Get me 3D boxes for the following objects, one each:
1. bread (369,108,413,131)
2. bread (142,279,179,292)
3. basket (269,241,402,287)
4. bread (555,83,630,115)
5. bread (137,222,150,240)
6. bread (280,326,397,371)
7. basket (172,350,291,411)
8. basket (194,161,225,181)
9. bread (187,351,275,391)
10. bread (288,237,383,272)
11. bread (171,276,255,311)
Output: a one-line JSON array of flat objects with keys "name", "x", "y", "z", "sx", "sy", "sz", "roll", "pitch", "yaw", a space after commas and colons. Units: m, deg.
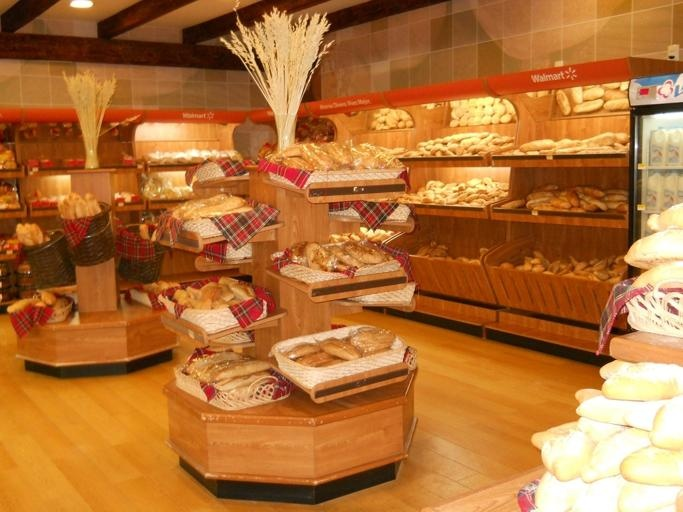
[{"name": "bread", "x": 0.681, "y": -1.824, "z": 6.860, "sx": 0.385, "sy": 0.105, "sz": 0.453, "roll": -7, "pitch": 11, "yaw": -39}, {"name": "bread", "x": -1.750, "y": 0.280, "z": 4.894, "sx": 0.229, "sy": 0.051, "sz": 0.216, "roll": -3, "pitch": 4, "yaw": -34}, {"name": "basket", "x": 0.029, "y": 0.026, "z": 2.888, "sx": 0.501, "sy": 0.098, "sz": 0.351, "roll": -3, "pitch": 7, "yaw": -32}, {"name": "bread", "x": 2.361, "y": -1.481, "z": 4.793, "sx": 0.390, "sy": 0.074, "sz": 0.401, "roll": -6, "pitch": 8, "yaw": -32}, {"name": "bread", "x": -2.141, "y": -0.265, "z": 5.577, "sx": 0.122, "sy": 0.223, "sz": 0.193, "roll": -8, "pitch": -11, "yaw": -9}, {"name": "bread", "x": 0.026, "y": 0.504, "z": 2.806, "sx": 0.464, "sy": 0.065, "sz": 0.246, "roll": -9, "pitch": 11, "yaw": -27}, {"name": "basket", "x": -0.647, "y": 0.702, "z": 3.019, "sx": 0.428, "sy": 0.200, "sz": 0.602, "roll": -10, "pitch": 13, "yaw": -41}, {"name": "basket", "x": -0.817, "y": -0.523, "z": 3.133, "sx": 0.244, "sy": 0.120, "sz": 0.054, "roll": 6, "pitch": 14, "yaw": 34}, {"name": "bread", "x": -0.657, "y": 0.650, "z": 2.967, "sx": 0.270, "sy": 0.054, "sz": 0.267, "roll": -3, "pitch": 8, "yaw": -42}, {"name": "bread", "x": 0.009, "y": -0.001, "z": 2.896, "sx": 0.317, "sy": 0.071, "sz": 0.288, "roll": -7, "pitch": 9, "yaw": -40}, {"name": "bread", "x": -0.752, "y": 0.233, "z": 3.092, "sx": 0.337, "sy": 0.091, "sz": 0.280, "roll": -5, "pitch": 7, "yaw": -43}]
